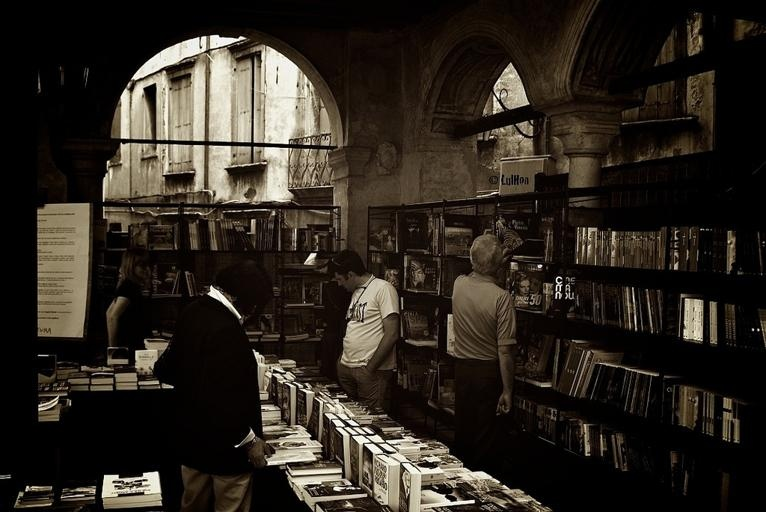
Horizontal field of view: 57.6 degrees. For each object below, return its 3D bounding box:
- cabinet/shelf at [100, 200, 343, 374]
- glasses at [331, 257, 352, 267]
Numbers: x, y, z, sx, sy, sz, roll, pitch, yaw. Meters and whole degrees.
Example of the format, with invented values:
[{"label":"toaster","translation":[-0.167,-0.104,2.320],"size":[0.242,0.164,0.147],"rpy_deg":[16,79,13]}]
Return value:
[{"label":"cabinet/shelf","translation":[-1.878,0.381,8.200],"size":[2.263,2.113,0.708],"rpy_deg":[0,4,-6]},{"label":"glasses","translation":[-0.422,0.064,6.810],"size":[0.126,0.051,0.093],"rpy_deg":[6,-6,-41]}]
